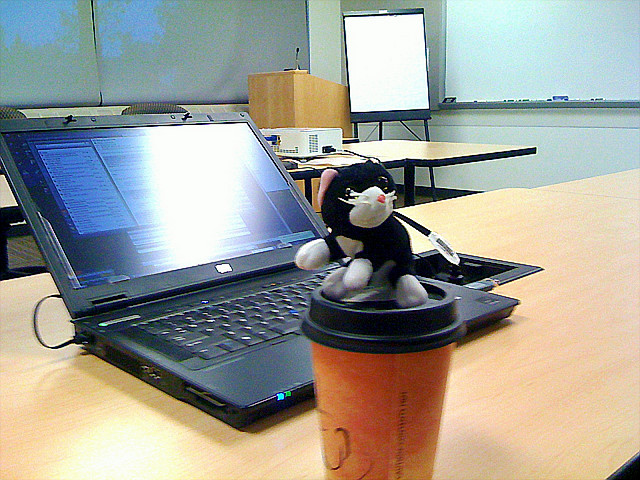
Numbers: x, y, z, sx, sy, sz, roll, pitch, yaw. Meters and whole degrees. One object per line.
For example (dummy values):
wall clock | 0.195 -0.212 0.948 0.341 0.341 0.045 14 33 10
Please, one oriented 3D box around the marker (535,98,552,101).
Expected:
marker | 2.003 -1.265 4.411 0.018 0.028 0.157 -23 24 -33

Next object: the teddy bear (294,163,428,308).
teddy bear | 0.023 -0.006 0.323 0.098 0.085 0.087 -1 4 -30

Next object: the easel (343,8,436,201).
easel | 0.486 -1.277 4.838 0.991 1.697 0.628 -5 16 -23
